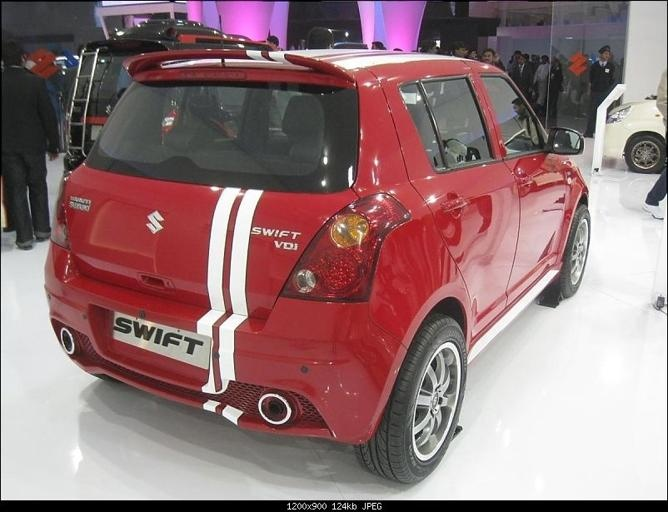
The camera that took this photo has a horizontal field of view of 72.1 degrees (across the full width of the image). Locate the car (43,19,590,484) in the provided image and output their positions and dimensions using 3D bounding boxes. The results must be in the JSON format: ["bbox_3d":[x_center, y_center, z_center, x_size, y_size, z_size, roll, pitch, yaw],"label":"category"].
[{"bbox_3d":[0.242,-0.281,2.608,1.572,1.415,2.726,10,29,30],"label":"car"}]
